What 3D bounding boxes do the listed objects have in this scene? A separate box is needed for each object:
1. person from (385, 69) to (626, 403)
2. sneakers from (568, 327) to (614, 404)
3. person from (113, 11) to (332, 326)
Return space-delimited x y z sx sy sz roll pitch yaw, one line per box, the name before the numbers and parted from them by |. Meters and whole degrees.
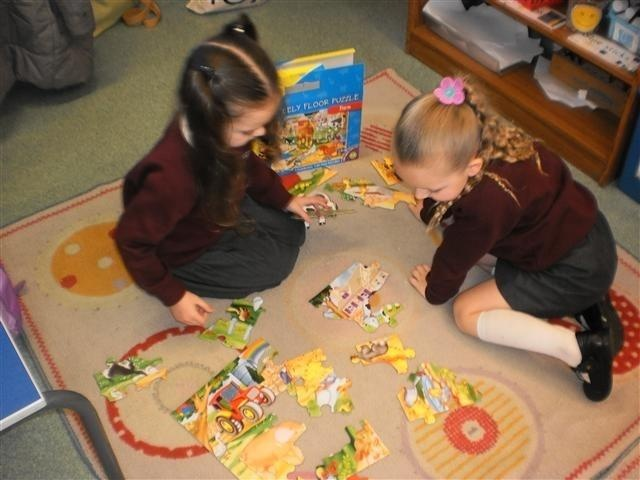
person | 0.691 -0.053 1.741 0.938 0.842 0.496 27 57 19
sneakers | 0.921 0.421 1.794 0.118 0.098 0.301 -6 96 -14
person | -0.326 -0.173 1.773 0.376 0.943 0.768 34 59 24
